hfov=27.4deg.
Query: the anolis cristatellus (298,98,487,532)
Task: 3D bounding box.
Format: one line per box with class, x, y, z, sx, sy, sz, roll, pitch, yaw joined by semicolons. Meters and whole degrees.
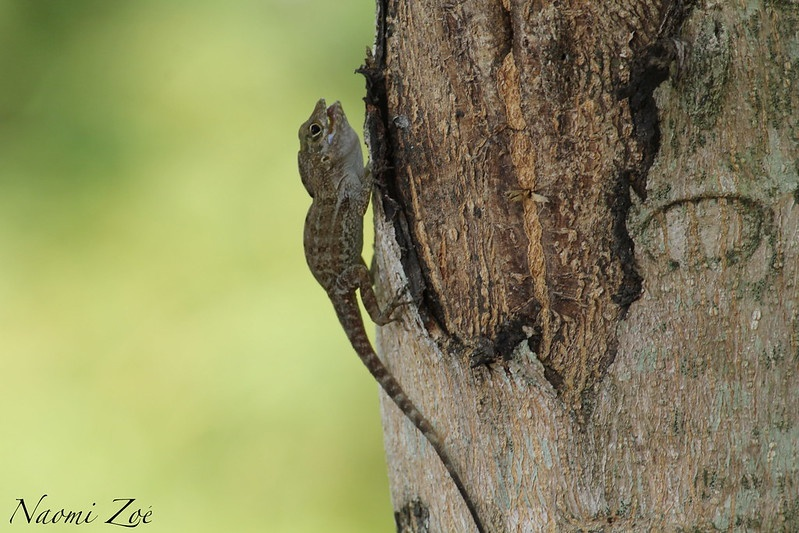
anolis cristatellus;-0.100;-0.081;7.666;0.316;2.678;0.546;6;-21;-31
